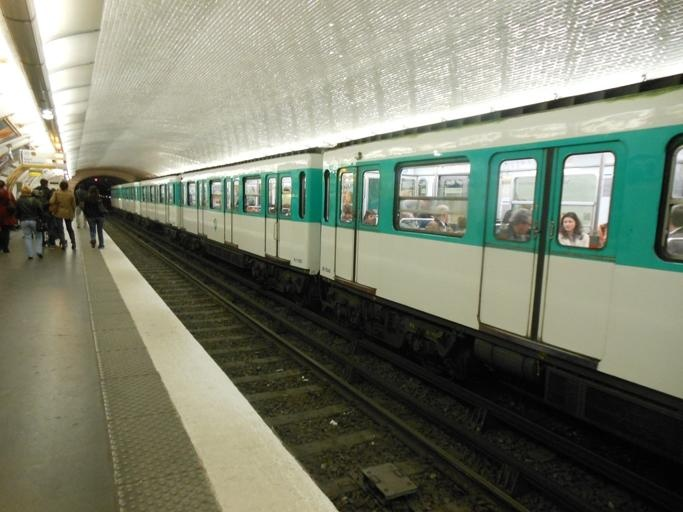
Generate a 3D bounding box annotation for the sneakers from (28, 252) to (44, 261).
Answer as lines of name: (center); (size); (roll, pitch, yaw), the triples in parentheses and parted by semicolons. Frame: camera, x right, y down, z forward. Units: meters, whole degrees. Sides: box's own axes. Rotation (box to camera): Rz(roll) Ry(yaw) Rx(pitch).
sneakers: (-7.672, 0.020, 11.233); (0.191, 0.136, 0.509); (-20, 14, -31)
